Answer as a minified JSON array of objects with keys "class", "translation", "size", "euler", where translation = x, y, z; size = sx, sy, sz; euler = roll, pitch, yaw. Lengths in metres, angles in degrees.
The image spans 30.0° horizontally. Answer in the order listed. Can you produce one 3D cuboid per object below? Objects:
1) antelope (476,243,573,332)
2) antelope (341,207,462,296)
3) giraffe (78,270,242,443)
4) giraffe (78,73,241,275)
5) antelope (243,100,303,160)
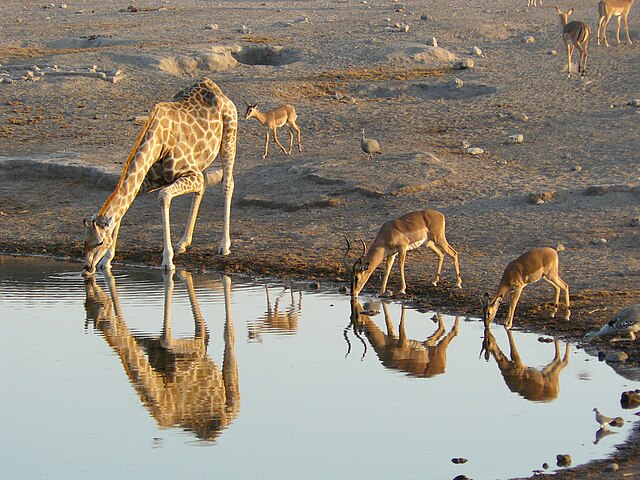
[{"class":"antelope","translation":[4.865,1.120,28.110],"size":[2.234,1.868,0.866],"euler":[-4,12,-19]},{"class":"antelope","translation":[2.114,0.314,29.403],"size":[3.004,2.036,0.925],"euler":[-5,15,-33]},{"class":"giraffe","translation":[-3.392,2.539,27.314],"size":[2.388,3.695,3.002],"euler":[13,22,36]},{"class":"giraffe","translation":[-4.207,-1.511,31.196],"size":[2.178,4.647,6.600],"euler":[10,17,27]},{"class":"antelope","translation":[-1.422,-3.636,39.216],"size":[1.726,1.650,2.686],"euler":[0,11,-1]}]
